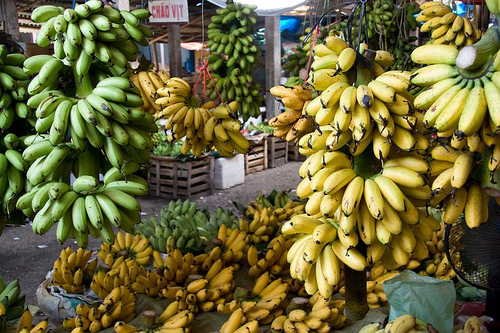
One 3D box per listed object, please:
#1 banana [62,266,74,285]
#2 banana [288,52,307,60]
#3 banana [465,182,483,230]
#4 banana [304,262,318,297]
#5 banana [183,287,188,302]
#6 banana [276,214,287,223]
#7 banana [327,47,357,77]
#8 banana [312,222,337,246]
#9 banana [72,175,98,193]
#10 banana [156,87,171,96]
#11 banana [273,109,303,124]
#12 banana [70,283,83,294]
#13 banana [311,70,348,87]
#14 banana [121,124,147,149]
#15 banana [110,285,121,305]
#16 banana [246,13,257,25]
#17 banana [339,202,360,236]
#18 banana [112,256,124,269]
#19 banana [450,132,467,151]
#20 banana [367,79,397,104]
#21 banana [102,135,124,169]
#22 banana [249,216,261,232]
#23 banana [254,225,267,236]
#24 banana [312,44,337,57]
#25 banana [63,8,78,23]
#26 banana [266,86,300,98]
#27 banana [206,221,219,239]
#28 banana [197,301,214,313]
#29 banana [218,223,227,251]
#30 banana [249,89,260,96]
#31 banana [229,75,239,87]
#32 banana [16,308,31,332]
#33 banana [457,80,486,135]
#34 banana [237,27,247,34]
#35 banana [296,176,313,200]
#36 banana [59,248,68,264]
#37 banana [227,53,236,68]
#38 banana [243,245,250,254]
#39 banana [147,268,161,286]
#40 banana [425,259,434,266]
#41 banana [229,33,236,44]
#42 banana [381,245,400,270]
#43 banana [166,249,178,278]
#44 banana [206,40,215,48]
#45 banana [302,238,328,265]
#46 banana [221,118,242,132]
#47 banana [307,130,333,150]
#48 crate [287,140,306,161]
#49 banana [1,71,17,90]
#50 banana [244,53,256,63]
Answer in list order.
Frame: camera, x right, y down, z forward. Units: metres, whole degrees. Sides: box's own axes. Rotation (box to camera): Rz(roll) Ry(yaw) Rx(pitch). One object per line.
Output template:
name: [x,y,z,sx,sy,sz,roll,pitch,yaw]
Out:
banana: [-1.537,0.923,3.911,0.050,0.197,0.063,-14,18,-3]
banana: [0.431,-1.004,4.270,0.199,0.056,0.067,-7,23,46]
banana: [1.283,0.231,2.628,0.094,0.095,0.326,1,49,29]
banana: [0.376,0.696,2.805,0.055,0.214,0.066,7,-12,-30]
banana: [-0.512,1.018,3.665,0.026,0.091,0.029,3,-7,-23]
banana: [0.342,0.557,4.931,0.137,0.045,0.088,-36,15,-20]
banana: [0.533,-0.607,2.636,0.215,0.064,0.080,-58,13,-25]
banana: [0.422,0.403,2.715,0.115,0.118,0.204,-7,13,16]
banana: [-1.037,0.108,2.951,0.196,0.103,0.130,4,16,31]
banana: [-0.657,-0.573,3.518,0.108,0.063,0.034,0,14,18]
banana: [0.242,-0.321,2.893,0.160,0.081,0.055,-22,54,-1]
banana: [-1.465,1.027,3.884,0.067,0.089,0.036,-11,6,-25]
banana: [0.441,-0.510,2.650,0.243,0.077,0.086,-4,16,-17]
banana: [-0.753,-0.201,3.036,0.250,0.071,0.083,35,43,21]
banana: [-1.026,0.990,3.532,0.039,0.053,0.148,-4,39,14]
banana: [0.017,-1.368,4.224,0.058,0.042,0.158,36,17,-40]
banana: [0.560,0.297,2.579,0.056,0.207,0.063,25,-24,-26]
banana: [-1.189,0.869,4.137,0.039,0.149,0.047,34,-27,-3]
banana: [1.144,-0.135,2.517,0.072,0.070,0.091,4,-11,7]
banana: [0.732,-0.411,2.527,0.164,0.075,0.084,41,47,21]
banana: [-0.874,-0.092,2.944,0.070,0.267,0.086,-22,-7,11]
banana: [0.054,0.575,4.568,0.054,0.203,0.070,26,-17,3]
banana: [0.115,0.635,4.545,0.172,0.059,0.046,-30,42,-24]
banana: [0.438,-0.688,2.727,0.065,0.053,0.186,5,9,-30]
banana: [-1.155,-0.976,2.982,0.069,0.067,0.090,29,15,-5]
banana: [0.211,-0.471,2.953,0.213,0.067,0.060,13,52,41]
banana: [-0.382,0.643,4.689,0.070,0.045,0.219,-10,47,-33]
banana: [-0.336,1.091,3.611,0.065,0.063,0.171,-5,-4,-45]
banana: [-0.261,0.683,4.380,0.060,0.237,0.074,4,-17,-4]
banana: [0.041,-0.676,4.195,0.089,0.067,0.109,-4,14,4]
banana: [-0.137,-0.765,4.095,0.037,0.049,0.103,-26,56,-17]
banana: [-1.585,1.088,3.250,0.057,0.071,0.218,24,38,-27]
banana: [1.128,-0.279,2.315,0.084,0.322,0.113,20,-17,5]
banana: [-0.065,-1.217,4.109,0.073,0.054,0.058,-4,14,3]
banana: [0.344,0.129,2.789,0.072,0.142,0.049,35,6,26]
banana: [-1.677,0.801,4.137,0.055,0.195,0.056,6,-15,-17]
banana: [-0.163,-0.953,4.109,0.060,0.099,0.031,5,-18,-3]
banana: [-0.030,0.773,4.270,0.019,0.073,0.038,6,35,-34]
banana: [-0.813,0.916,3.849,0.051,0.171,0.107,-16,22,-8]
banana: [1.519,0.808,3.865,0.070,0.042,0.106,-2,14,10]
banana: [-0.154,-1.144,4.103,0.063,0.083,0.057,-6,14,-4]
banana: [0.848,0.570,2.782,0.051,0.179,0.100,-4,-7,-35]
banana: [-0.653,0.817,3.857,0.057,0.215,0.073,-8,-1,-12]
banana: [-0.371,-1.140,4.244,0.108,0.034,0.035,-26,-8,32]
banana: [0.364,0.485,2.699,0.102,0.126,0.183,6,18,38]
banana: [-0.137,-0.325,3.589,0.169,0.116,0.083,4,16,30]
banana: [0.399,-0.145,2.640,0.144,0.082,0.051,-37,8,-21]
crate: [1.127,-0.371,11.490,0.548,0.434,0.561,-3,6,-7]
banana: [-1.596,-0.565,3.024,0.155,0.057,0.048,41,15,27]
banana: [-0.001,-0.980,4.130,0.096,0.086,0.079,-4,14,3]
